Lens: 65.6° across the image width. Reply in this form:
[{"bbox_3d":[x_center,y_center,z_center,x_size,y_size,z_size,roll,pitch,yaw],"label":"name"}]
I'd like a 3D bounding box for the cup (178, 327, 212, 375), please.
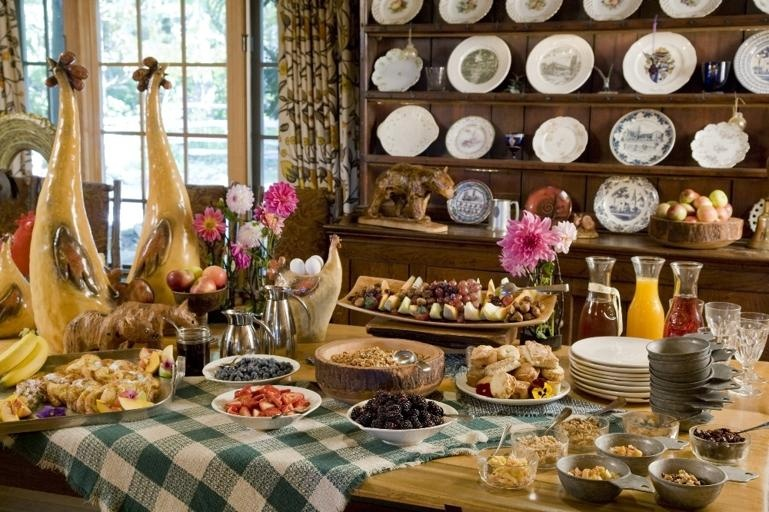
[{"bbox_3d":[-0.550,0.272,1.794,0.144,0.142,0.086,-1,4,-31],"label":"cup"}]

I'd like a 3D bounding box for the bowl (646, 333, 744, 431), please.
[{"bbox_3d":[0.749,0.291,1.461,0.213,0.180,0.264,3,15,30],"label":"bowl"}]

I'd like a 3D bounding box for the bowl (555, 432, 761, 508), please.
[{"bbox_3d":[0.578,0.454,1.259,0.416,0.147,0.179,1,0,12],"label":"bowl"}]

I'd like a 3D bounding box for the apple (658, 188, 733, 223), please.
[{"bbox_3d":[1.713,-0.262,3.253,0.274,0.140,0.234,-2,6,-8],"label":"apple"}]

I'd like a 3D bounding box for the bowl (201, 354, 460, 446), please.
[{"bbox_3d":[-0.055,0.361,1.485,0.349,0.077,0.332,1,9,0],"label":"bowl"}]

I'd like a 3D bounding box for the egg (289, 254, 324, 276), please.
[{"bbox_3d":[-0.270,0.031,2.066,0.106,0.049,0.062,1,5,23],"label":"egg"}]

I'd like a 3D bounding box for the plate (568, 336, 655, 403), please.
[{"bbox_3d":[0.632,0.280,1.661,0.193,0.080,0.191,2,9,14],"label":"plate"}]

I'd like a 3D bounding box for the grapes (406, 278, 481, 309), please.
[{"bbox_3d":[0.217,0.100,1.902,0.155,0.048,0.114,-7,13,-37],"label":"grapes"}]
